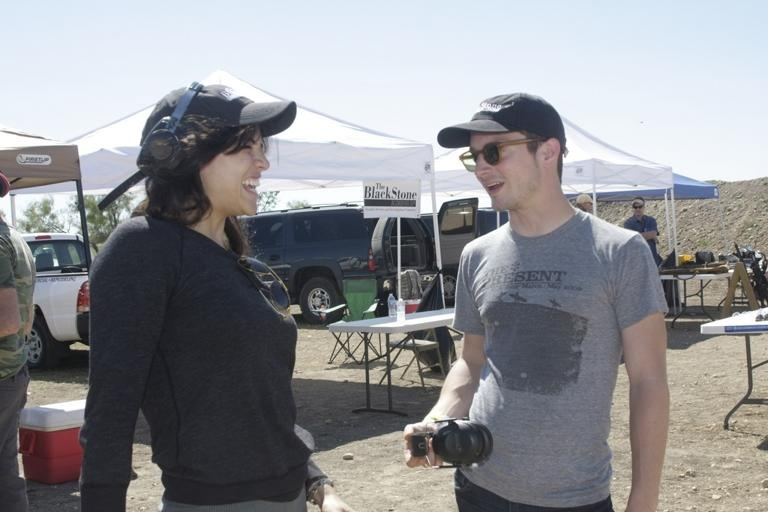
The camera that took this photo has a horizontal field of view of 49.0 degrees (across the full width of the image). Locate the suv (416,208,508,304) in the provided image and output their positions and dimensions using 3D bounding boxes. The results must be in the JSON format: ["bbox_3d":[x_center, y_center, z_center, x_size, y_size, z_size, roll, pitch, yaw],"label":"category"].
[{"bbox_3d":[1.530,-0.423,15.837,1.251,1.245,2.087,-2,12,2],"label":"suv"}]

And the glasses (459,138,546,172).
[{"bbox_3d":[0.524,-0.485,3.944,0.223,0.064,0.216,-6,-6,-36],"label":"glasses"}]

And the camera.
[{"bbox_3d":[0.305,0.824,3.798,0.404,0.176,0.267,4,1,-9],"label":"camera"}]

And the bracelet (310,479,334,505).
[{"bbox_3d":[-0.288,1.011,3.634,0.100,0.104,0.086,22,-17,-18],"label":"bracelet"}]

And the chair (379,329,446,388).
[{"bbox_3d":[0.355,1.220,10.342,0.801,1.025,0.583,1,-1,30],"label":"chair"}]

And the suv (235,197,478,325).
[{"bbox_3d":[-0.488,0.061,14.871,3.696,1.436,2.213,3,5,26],"label":"suv"}]

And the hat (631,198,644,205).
[{"bbox_3d":[4.567,-0.961,15.256,0.173,0.126,0.254,-5,-14,23],"label":"hat"}]
